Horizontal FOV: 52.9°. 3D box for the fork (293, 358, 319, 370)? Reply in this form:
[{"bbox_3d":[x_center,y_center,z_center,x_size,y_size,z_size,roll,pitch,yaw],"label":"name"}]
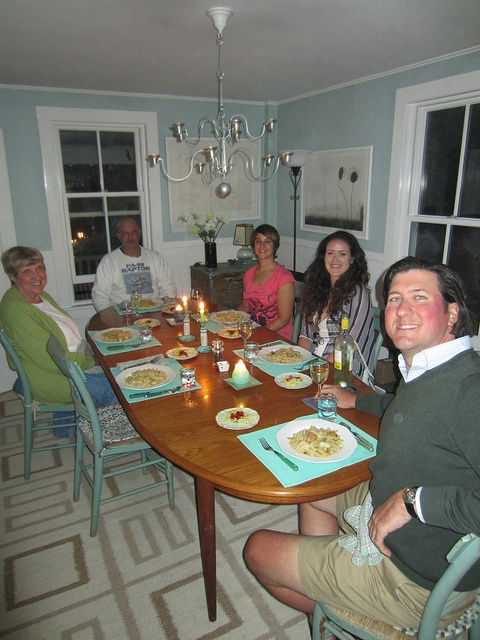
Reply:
[{"bbox_3d":[0.319,0.193,2.258,0.037,0.028,0.243,27,22,24],"label":"fork"}]

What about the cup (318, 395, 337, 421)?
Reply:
[{"bbox_3d":[0.314,0.318,1.744,0.081,0.081,0.079,-2,5,0],"label":"cup"}]

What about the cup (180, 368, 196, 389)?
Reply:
[{"bbox_3d":[-0.212,0.245,2.061,0.080,0.082,0.079,1,8,0],"label":"cup"}]

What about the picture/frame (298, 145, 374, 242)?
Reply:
[{"bbox_3d":[0.826,-1.094,4.078,0.030,0.774,1.145,-11,21,-26],"label":"picture/frame"}]

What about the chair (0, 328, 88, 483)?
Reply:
[{"bbox_3d":[-1.117,0.508,2.777,0.470,0.904,0.402,-6,40,-18],"label":"chair"}]

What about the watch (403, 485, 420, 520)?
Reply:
[{"bbox_3d":[0.434,0.464,1.233,0.037,0.071,0.052,3,16,16],"label":"watch"}]

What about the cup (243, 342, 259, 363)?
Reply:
[{"bbox_3d":[0.055,0.152,2.332,0.088,0.092,0.086,-1,15,0],"label":"cup"}]

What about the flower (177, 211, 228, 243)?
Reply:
[{"bbox_3d":[-0.381,-0.903,4.663,0.414,0.259,0.390,3,19,7],"label":"flower"}]

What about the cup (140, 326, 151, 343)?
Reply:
[{"bbox_3d":[-0.510,0.074,2.618,0.082,0.081,0.074,-4,21,-10],"label":"cup"}]

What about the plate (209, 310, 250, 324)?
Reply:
[{"bbox_3d":[-0.067,-0.018,2.967,0.126,0.016,0.123,8,21,21],"label":"plate"}]

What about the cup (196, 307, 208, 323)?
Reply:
[{"bbox_3d":[-0.226,-0.010,2.720,0.072,0.075,0.074,1,34,-1],"label":"cup"}]

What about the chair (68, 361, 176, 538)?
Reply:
[{"bbox_3d":[-0.600,0.595,2.414,0.476,0.755,0.442,-6,14,-34],"label":"chair"}]

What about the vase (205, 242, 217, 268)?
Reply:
[{"bbox_3d":[-0.292,-0.629,4.705,0.101,0.252,0.102,-3,16,-4],"label":"vase"}]

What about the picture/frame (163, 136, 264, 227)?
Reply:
[{"bbox_3d":[-0.287,-1.296,4.458,1.259,0.926,0.055,-13,30,-22],"label":"picture/frame"}]

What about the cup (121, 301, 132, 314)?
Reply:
[{"bbox_3d":[-0.756,-0.086,3.195,0.087,0.077,0.072,-11,25,-28],"label":"cup"}]

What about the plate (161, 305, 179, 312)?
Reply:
[{"bbox_3d":[-0.486,-0.072,3.236,0.069,0.010,0.067,4,23,24],"label":"plate"}]
